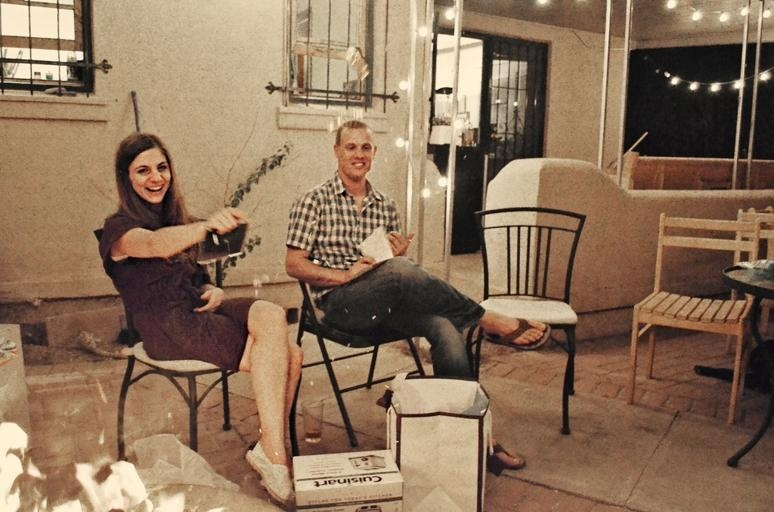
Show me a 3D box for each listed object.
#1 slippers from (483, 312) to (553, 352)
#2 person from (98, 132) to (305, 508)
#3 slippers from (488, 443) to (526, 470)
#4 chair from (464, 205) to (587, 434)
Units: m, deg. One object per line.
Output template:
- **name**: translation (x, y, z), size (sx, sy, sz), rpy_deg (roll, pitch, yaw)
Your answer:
- **slippers**: translation (0.823, 0.480, 4.321), size (0.399, 0.213, 0.105), rpy_deg (10, -27, 18)
- **person**: translation (-1.017, 0.278, 3.860), size (1.126, 1.898, 0.470), rpy_deg (5, 14, 23)
- **slippers**: translation (0.743, 1.216, 4.172), size (0.244, 0.161, 0.109), rpy_deg (-8, 15, -32)
- **chair**: translation (0.986, 0.393, 4.878), size (0.938, 1.412, 0.874), rpy_deg (2, 7, 5)
